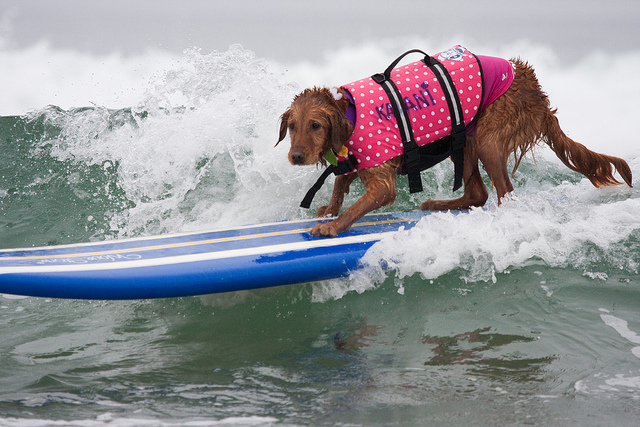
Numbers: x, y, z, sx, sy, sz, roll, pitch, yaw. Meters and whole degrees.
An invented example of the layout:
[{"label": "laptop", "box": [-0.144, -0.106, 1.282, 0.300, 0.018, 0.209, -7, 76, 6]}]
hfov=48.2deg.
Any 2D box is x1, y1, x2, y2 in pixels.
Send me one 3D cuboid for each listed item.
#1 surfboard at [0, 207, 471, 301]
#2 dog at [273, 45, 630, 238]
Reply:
[{"label": "surfboard", "box": [-0.597, 0.377, 6.493, 2.726, 0.254, 0.707, -5, 17, -14]}, {"label": "dog", "box": [1.564, -0.940, 7.408, 4.013, 1.607, 1.485, -14, 16, -12]}]
